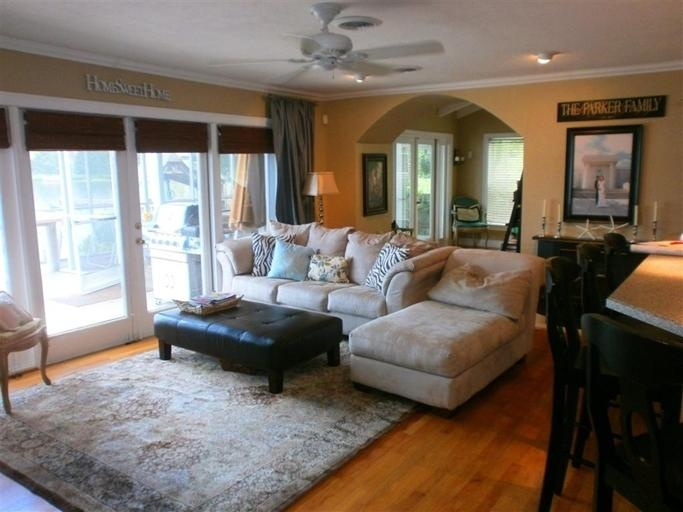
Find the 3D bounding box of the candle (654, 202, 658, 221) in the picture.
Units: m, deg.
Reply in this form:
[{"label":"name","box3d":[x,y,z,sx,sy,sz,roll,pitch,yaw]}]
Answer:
[{"label":"candle","box3d":[3.310,-0.465,5.426,0.047,0.202,0.168,5,12,30]}]

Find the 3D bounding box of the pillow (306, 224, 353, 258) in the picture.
[{"label":"pillow","box3d":[-0.149,-0.157,5.883,0.436,0.307,0.148,3,-27,32]}]

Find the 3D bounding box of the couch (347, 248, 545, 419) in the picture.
[{"label":"couch","box3d":[0.917,0.516,4.377,1.168,0.843,1.600,6,10,44]}]

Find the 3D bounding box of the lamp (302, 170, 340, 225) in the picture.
[{"label":"lamp","box3d":[-0.290,-0.793,7.148,0.441,0.764,0.835,-2,10,-3]}]

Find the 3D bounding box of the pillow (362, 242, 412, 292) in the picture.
[{"label":"pillow","box3d":[0.428,0.107,5.208,0.160,0.456,0.501,24,3,-20]}]

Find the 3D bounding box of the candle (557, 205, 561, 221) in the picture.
[{"label":"candle","box3d":[2.519,-0.500,5.945,0.045,0.192,0.101,2,11,17]}]

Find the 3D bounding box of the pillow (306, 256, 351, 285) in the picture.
[{"label":"pillow","box3d":[-0.131,0.170,5.588,0.339,0.202,0.113,4,-1,15]}]

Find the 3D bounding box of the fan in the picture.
[{"label":"fan","box3d":[-0.085,-1.618,3.987,1.252,0.367,1.554,-3,9,-10]}]

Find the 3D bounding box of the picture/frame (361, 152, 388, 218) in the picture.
[{"label":"picture/frame","box3d":[0.478,-1.087,7.716,0.088,1.060,0.985,6,11,32]}]

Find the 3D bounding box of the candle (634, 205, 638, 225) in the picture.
[{"label":"candle","box3d":[3.178,-0.439,5.547,0.031,0.210,0.074,9,15,43]}]

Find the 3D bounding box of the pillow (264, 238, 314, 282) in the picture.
[{"label":"pillow","box3d":[-0.576,0.058,5.740,0.493,0.409,0.149,12,-5,21]}]
